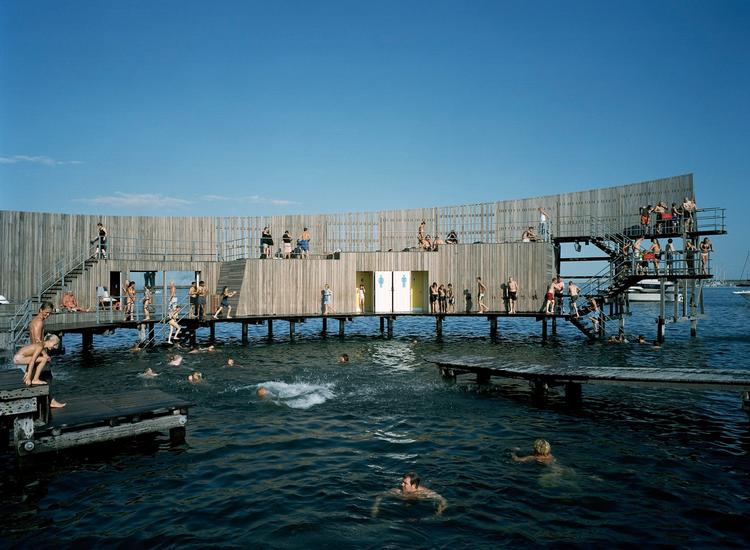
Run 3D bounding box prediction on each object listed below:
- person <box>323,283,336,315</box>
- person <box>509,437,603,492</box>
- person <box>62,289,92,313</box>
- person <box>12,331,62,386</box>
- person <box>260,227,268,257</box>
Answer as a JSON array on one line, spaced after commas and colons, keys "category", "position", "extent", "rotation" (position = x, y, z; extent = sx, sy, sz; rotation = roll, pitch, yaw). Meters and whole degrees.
[{"category": "person", "position": [-2.749, 1.407, 35.547], "extent": [0.675, 1.638, 0.457], "rotation": [-4, 9, -25]}, {"category": "person", "position": [4.524, 4.731, 15.424], "extent": [1.452, 0.485, 2.084], "rotation": [-4, 9, -23]}, {"category": "person", "position": [-15.255, 1.376, 31.114], "extent": [2.492, 0.900, 1.107], "rotation": [0, 1, 33]}, {"category": "person", "position": [-8.897, 2.250, 16.053], "extent": [0.976, 1.290, 1.394], "rotation": [-5, 9, -29]}, {"category": "person", "position": [-6.359, -1.860, 35.314], "extent": [0.577, 1.605, 1.299], "rotation": [-2, 8, -10]}]
